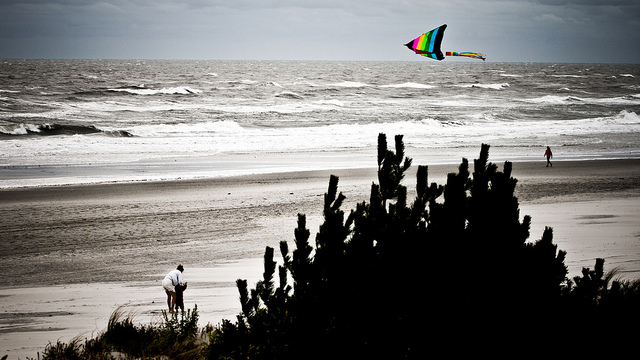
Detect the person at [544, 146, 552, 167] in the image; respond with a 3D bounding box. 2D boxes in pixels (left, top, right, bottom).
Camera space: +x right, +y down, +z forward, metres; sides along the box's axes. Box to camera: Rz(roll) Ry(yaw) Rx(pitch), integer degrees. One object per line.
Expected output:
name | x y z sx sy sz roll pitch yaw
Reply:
person | 19.341 -1.965 72.501 0.540 1.557 1.040 4 13 14
